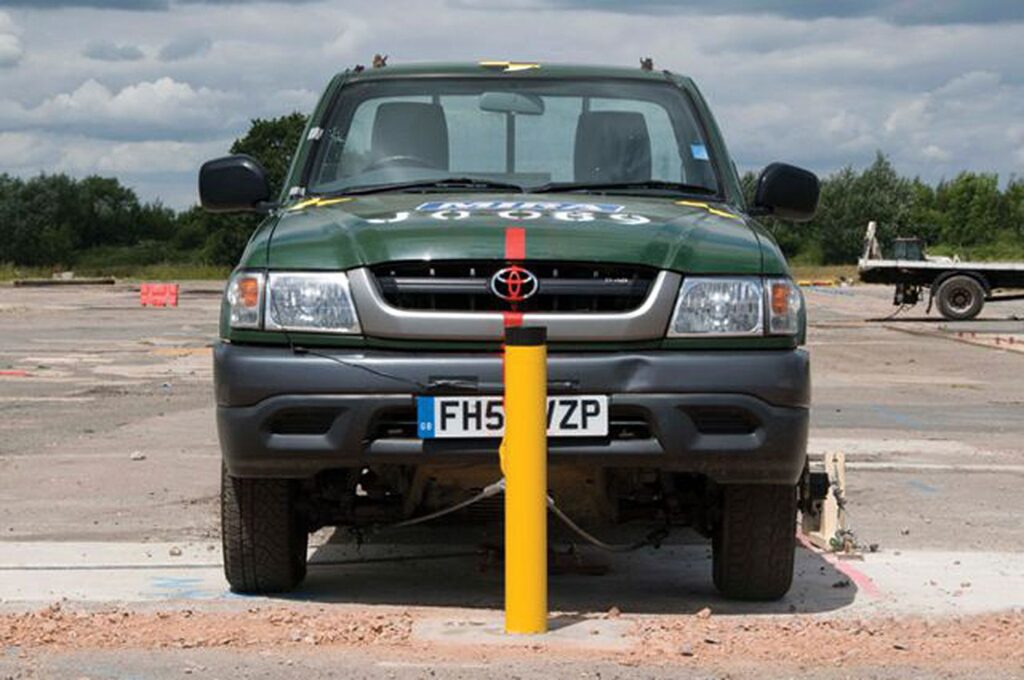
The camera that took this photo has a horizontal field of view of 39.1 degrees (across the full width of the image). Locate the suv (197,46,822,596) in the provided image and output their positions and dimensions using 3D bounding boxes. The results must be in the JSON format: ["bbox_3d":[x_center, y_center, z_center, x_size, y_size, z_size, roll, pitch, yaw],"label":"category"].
[{"bbox_3d":[0.067,-0.322,10.557,3.695,3.280,6.231,0,3,0],"label":"suv"}]
